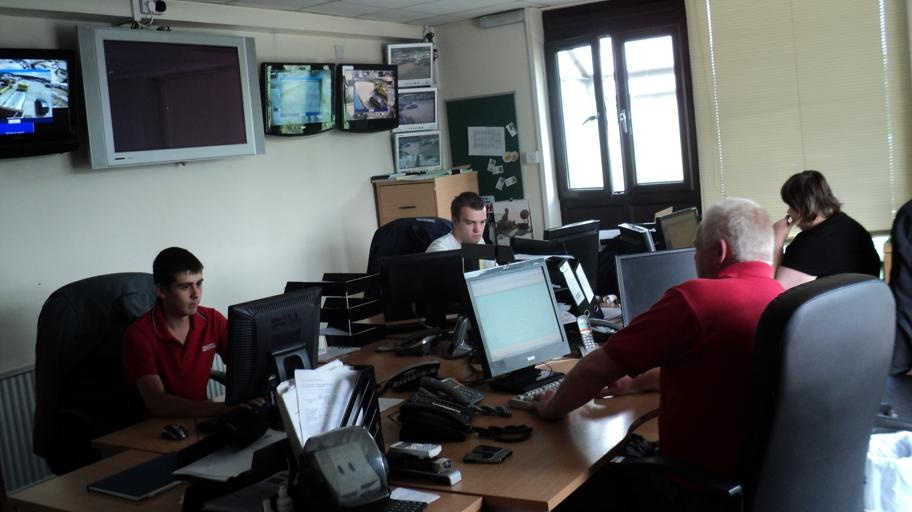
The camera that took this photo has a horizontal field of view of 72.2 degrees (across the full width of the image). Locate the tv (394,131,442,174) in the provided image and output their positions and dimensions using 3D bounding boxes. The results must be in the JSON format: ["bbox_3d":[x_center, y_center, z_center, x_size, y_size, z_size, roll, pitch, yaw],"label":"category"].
[{"bbox_3d":[-0.508,-1.305,7.851,0.644,0.410,0.085,-4,4,-30],"label":"tv"}]

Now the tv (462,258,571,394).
[{"bbox_3d":[0.390,0.478,4.045,0.752,0.804,0.488,-15,4,-32],"label":"tv"}]

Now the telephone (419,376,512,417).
[{"bbox_3d":[0.014,0.834,3.729,0.284,0.063,0.380,13,2,4],"label":"telephone"}]

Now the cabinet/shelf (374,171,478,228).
[{"bbox_3d":[-0.319,-0.659,7.633,0.697,0.933,0.998,-2,2,30],"label":"cabinet/shelf"}]

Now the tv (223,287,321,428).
[{"bbox_3d":[-1.053,0.600,3.587,0.743,0.604,0.261,-11,22,-43],"label":"tv"}]

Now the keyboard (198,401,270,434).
[{"bbox_3d":[-1.314,0.930,3.613,0.309,0.104,0.304,-1,3,21],"label":"keyboard"}]

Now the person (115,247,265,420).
[{"bbox_3d":[-1.810,0.544,4.281,0.902,1.084,0.875,2,3,37],"label":"person"}]

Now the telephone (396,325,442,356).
[{"bbox_3d":[-0.298,0.636,4.645,0.221,0.081,0.212,-12,13,20],"label":"telephone"}]

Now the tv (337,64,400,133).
[{"bbox_3d":[-1.040,-1.822,7.183,0.949,0.830,0.126,-1,2,-42],"label":"tv"}]

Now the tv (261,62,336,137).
[{"bbox_3d":[-1.687,-1.648,6.545,0.936,0.734,0.125,-10,11,-42],"label":"tv"}]

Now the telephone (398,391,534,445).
[{"bbox_3d":[0.001,0.938,3.553,0.483,0.122,0.356,-1,3,12],"label":"telephone"}]

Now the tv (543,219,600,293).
[{"bbox_3d":[0.955,0.012,5.091,0.662,0.606,0.233,-11,17,-42],"label":"tv"}]

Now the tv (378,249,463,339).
[{"bbox_3d":[-0.276,0.307,4.874,0.754,0.644,0.253,0,18,3],"label":"tv"}]

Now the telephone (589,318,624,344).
[{"bbox_3d":[1.075,0.527,4.520,0.212,0.090,0.272,7,9,35],"label":"telephone"}]

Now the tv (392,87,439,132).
[{"bbox_3d":[-0.533,-1.819,7.750,0.610,0.463,0.211,-5,8,-40],"label":"tv"}]

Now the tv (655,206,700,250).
[{"bbox_3d":[1.906,-0.230,5.367,0.443,0.337,0.223,-12,13,-38],"label":"tv"}]

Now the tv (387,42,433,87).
[{"bbox_3d":[-0.582,-2.341,7.615,0.696,0.518,0.072,-4,4,-29],"label":"tv"}]

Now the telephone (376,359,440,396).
[{"bbox_3d":[-0.297,0.793,4.122,0.307,0.087,0.222,-8,2,1],"label":"telephone"}]

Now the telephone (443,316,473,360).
[{"bbox_3d":[0.026,0.595,4.606,0.186,0.274,0.230,-4,0,-7],"label":"telephone"}]

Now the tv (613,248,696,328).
[{"bbox_3d":[1.290,0.202,4.020,0.630,0.415,0.061,-4,-2,-1],"label":"tv"}]
